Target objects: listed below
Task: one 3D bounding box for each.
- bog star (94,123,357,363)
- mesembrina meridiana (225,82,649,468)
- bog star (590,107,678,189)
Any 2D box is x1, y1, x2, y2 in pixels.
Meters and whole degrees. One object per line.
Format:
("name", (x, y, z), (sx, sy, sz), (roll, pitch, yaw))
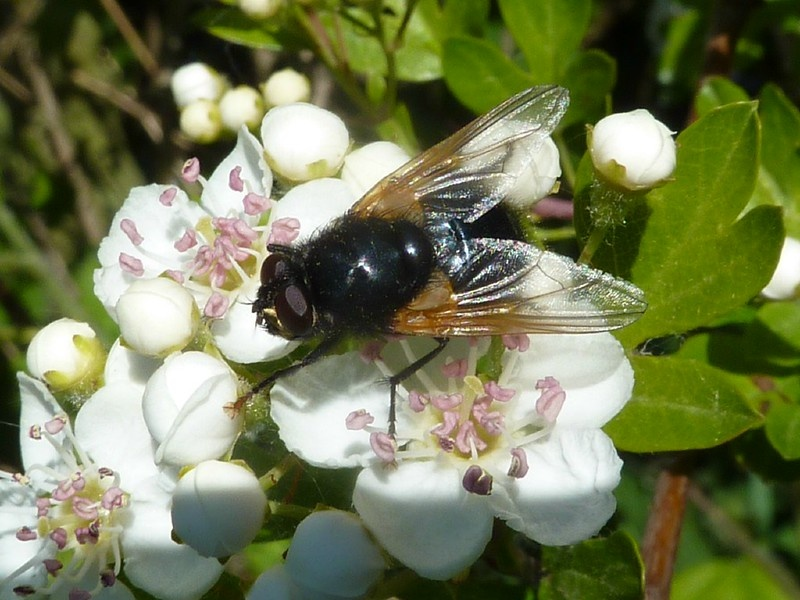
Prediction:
("bog star", (-0.424, -0.040, 2.125), (0.480, 0.541, 0.190), (2, -18, 3))
("mesembrina meridiana", (0.106, -0.028, 2.186), (0.803, 0.651, 0.260), (-24, -21, 3))
("bog star", (0.466, -0.307, 1.956), (0.184, 0.161, 0.157), (3, 21, 6))
